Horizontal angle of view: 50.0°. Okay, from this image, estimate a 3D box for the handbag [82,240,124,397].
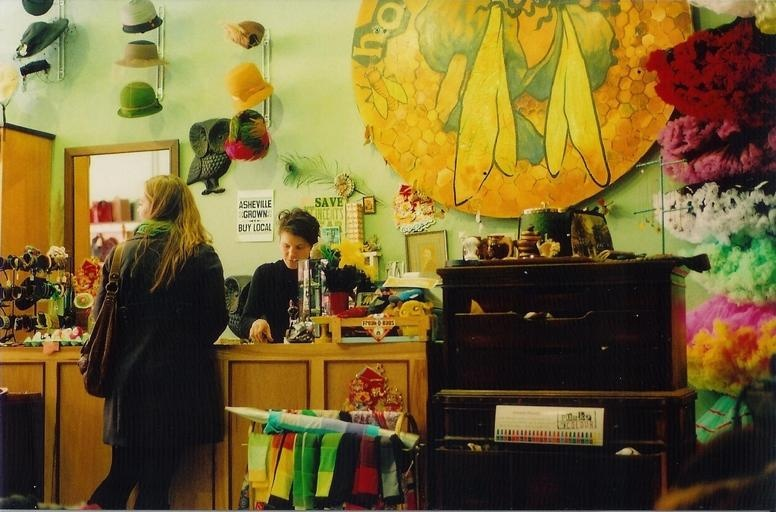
[{"bbox_3d":[-1.607,0.366,4.692,0.253,0.839,0.074,-2,-6,23],"label":"handbag"}]

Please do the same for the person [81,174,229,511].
[{"bbox_3d":[-1.311,0.495,4.759,0.765,1.890,0.330,1,-5,-10],"label":"person"}]

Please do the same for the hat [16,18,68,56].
[{"bbox_3d":[-2.425,-1.542,5.865,0.319,0.239,0.097,-37,-40,7],"label":"hat"}]

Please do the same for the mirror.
[{"bbox_3d":[-1.688,-0.265,5.365,0.961,1.327,0.048,-1,-5,7],"label":"mirror"}]

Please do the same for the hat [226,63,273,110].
[{"bbox_3d":[-0.926,-1.132,5.633,0.309,0.309,0.140,1,-5,-13],"label":"hat"}]

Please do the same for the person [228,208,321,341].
[{"bbox_3d":[-0.670,0.091,5.181,0.564,0.875,0.750,1,-5,-11],"label":"person"}]
